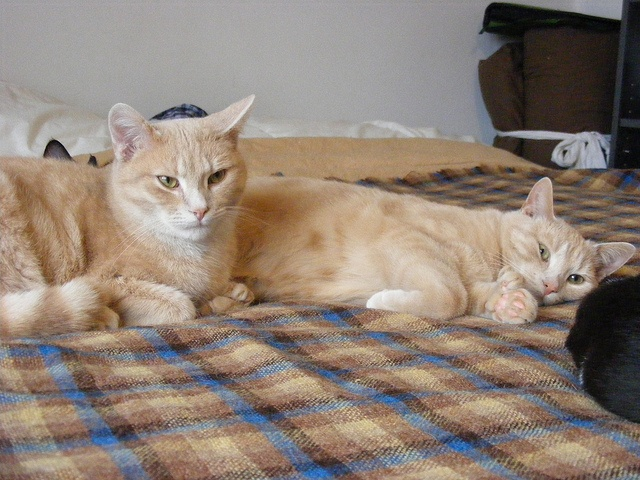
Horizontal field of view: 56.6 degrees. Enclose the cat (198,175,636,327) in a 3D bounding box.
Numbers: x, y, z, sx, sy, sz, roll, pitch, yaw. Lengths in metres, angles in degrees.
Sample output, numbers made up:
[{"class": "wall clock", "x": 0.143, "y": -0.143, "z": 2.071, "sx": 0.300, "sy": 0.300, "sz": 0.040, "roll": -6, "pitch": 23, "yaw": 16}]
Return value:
[{"class": "cat", "x": 0.243, "y": 0.048, "z": 1.818, "sx": 1.537, "sy": 0.366, "sz": 0.458, "roll": 7, "pitch": 5, "yaw": 12}]
